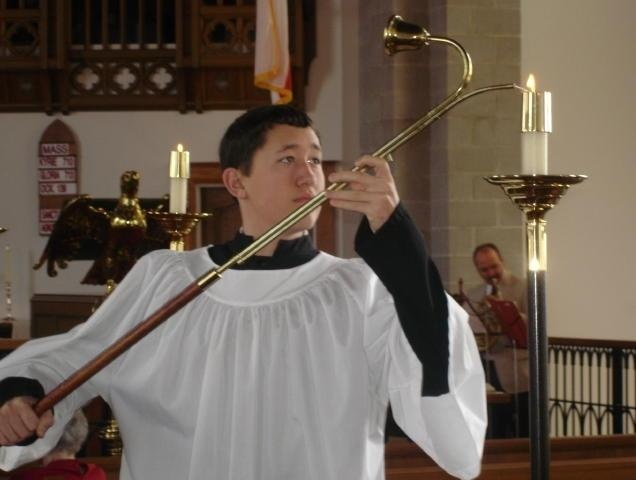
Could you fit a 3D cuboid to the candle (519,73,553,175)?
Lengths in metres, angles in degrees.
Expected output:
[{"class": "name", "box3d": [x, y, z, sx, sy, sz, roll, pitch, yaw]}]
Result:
[{"class": "candle", "box3d": [1.437, -0.751, 9.613, 0.208, 0.657, 0.144, 1, 1, -9]}]
